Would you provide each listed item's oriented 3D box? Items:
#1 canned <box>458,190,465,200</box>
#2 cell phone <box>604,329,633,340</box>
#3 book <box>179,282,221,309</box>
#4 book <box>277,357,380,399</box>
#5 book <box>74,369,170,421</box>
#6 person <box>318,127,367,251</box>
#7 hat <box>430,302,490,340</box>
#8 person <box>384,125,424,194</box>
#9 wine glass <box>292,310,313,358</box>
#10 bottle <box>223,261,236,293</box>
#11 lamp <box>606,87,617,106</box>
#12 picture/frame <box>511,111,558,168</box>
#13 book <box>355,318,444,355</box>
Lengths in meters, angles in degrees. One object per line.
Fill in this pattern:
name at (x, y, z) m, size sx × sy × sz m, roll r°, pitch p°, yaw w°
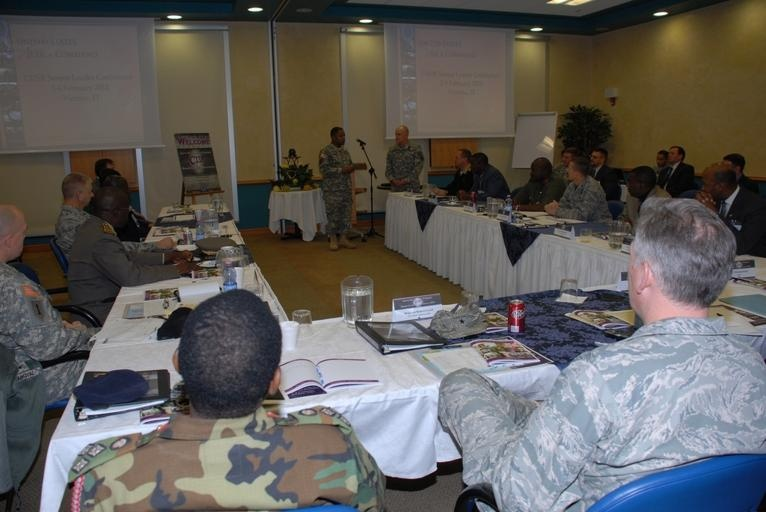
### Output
canned at (1.016, -0.791, 6.540) m, size 0.118 × 0.119 × 0.077 m, roll 8°, pitch 2°, yaw -31°
cell phone at (1.043, 0.336, 2.236) m, size 0.069 × 0.020 × 0.065 m, roll -5°, pitch 18°, yaw -26°
book at (-0.870, 0.182, 2.410) m, size 0.130 × 0.031 × 0.126 m, roll -9°, pitch 24°, yaw -37°
book at (-0.232, 0.451, 1.975) m, size 0.323 × 0.031 × 0.205 m, roll -3°, pitch 26°, yaw -27°
book at (-0.933, 0.483, 1.830) m, size 0.205 × 0.049 × 0.202 m, roll 6°, pitch 5°, yaw 45°
person at (-0.642, -1.036, 7.691) m, size 0.665 × 1.743 × 0.588 m, roll -13°, pitch 18°, yaw -30°
hat at (0.348, 0.296, 2.301) m, size 0.193 × 0.069 × 0.150 m, roll -15°, pitch 27°, yaw -27°
person at (0.326, -1.439, 7.651) m, size 0.557 × 0.986 × 0.675 m, roll -2°, pitch 15°, yaw 4°
wine glass at (-0.396, 0.341, 2.412) m, size 0.122 × 0.190 × 0.119 m, roll -5°, pitch 19°, yaw -21°
bottle at (-0.813, 0.091, 2.717) m, size 0.074 × 0.162 × 0.232 m, roll -8°, pitch 16°, yaw -16°
lamp at (4.151, -2.888, 9.272) m, size 0.221 × 0.314 × 0.615 m, roll 3°, pitch 16°, yaw 23°
picture/frame at (2.816, -2.159, 9.380) m, size 0.750 × 0.926 × 0.055 m, roll 12°, pitch 24°, yaw 43°
book at (0.074, 0.341, 2.241) m, size 0.189 × 0.045 × 0.188 m, roll -5°, pitch 15°, yaw -20°
